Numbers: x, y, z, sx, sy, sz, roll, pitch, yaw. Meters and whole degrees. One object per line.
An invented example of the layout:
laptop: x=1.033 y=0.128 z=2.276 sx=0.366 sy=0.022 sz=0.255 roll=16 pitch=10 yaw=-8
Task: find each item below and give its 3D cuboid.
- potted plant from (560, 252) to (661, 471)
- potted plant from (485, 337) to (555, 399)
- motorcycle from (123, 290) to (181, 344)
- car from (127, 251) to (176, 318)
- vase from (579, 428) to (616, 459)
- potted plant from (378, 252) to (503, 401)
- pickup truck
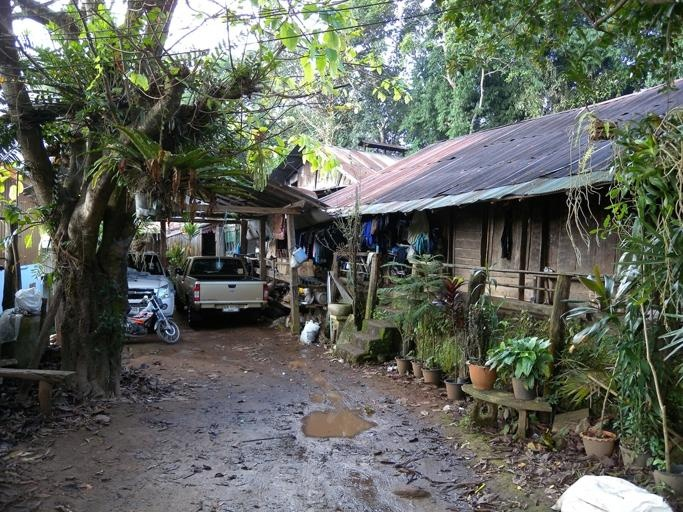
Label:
potted plant: x=3.100 y=1.039 z=5.447 sx=0.888 sy=2.189 sz=1.352 roll=2 pitch=4 yaw=4
potted plant: x=2.382 y=1.398 z=6.343 sx=0.743 sy=0.588 sz=0.773 roll=-4 pitch=0 yaw=-20
motorcycle: x=-4.515 y=1.455 z=11.908 sx=1.155 sy=1.214 sz=1.520 roll=1 pitch=4 yaw=-15
car: x=-5.038 y=0.665 z=12.705 sx=1.205 sy=1.431 sz=2.671 roll=0 pitch=-6 yaw=-10
vase: x=2.928 y=2.141 z=5.579 sx=0.277 sy=0.195 sz=0.282 roll=3 pitch=-3 yaw=-32
potted plant: x=2.275 y=1.155 z=8.673 sx=2.029 sy=2.399 sz=1.977 roll=-4 pitch=-8 yaw=-29
pickup truck: x=-3.568 y=1.035 z=14.440 sx=1.980 sy=1.932 sz=3.154 roll=0 pitch=4 yaw=-27
